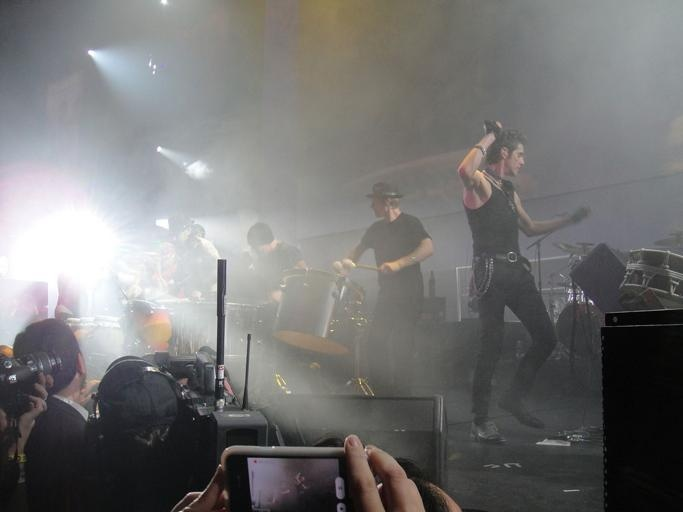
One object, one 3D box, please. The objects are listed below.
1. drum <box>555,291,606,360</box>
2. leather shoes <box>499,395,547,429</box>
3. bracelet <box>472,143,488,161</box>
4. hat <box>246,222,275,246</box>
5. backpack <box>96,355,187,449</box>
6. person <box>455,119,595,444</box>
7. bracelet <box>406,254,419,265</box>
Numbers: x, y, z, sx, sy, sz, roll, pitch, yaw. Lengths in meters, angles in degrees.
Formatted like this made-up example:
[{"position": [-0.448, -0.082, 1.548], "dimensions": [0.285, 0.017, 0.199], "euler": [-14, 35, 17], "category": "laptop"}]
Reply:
[{"position": [1.691, 0.488, 3.875], "dimensions": [0.295, 0.480, 0.158], "euler": [-2, -12, -4], "category": "drum"}, {"position": [1.304, 1.138, 4.013], "dimensions": [0.356, 0.120, 0.166], "euler": [35, 18, 23], "category": "leather shoes"}, {"position": [1.106, -0.825, 4.344], "dimensions": [0.037, 0.104, 0.095], "euler": [-29, -17, -22], "category": "bracelet"}, {"position": [-0.808, -0.198, 5.493], "dimensions": [0.263, 0.212, 0.194], "euler": [-18, -3, 21], "category": "hat"}, {"position": [-1.047, 0.721, 2.829], "dimensions": [0.336, 0.371, 0.451], "euler": [6, -55, -23], "category": "backpack"}, {"position": [1.282, 0.139, 4.137], "dimensions": [0.778, 2.421, 0.216], "euler": [-6, -13, 15], "category": "person"}, {"position": [0.601, 0.041, 4.555], "dimensions": [0.074, 0.058, 0.074], "euler": [7, -15, -4], "category": "bracelet"}]
